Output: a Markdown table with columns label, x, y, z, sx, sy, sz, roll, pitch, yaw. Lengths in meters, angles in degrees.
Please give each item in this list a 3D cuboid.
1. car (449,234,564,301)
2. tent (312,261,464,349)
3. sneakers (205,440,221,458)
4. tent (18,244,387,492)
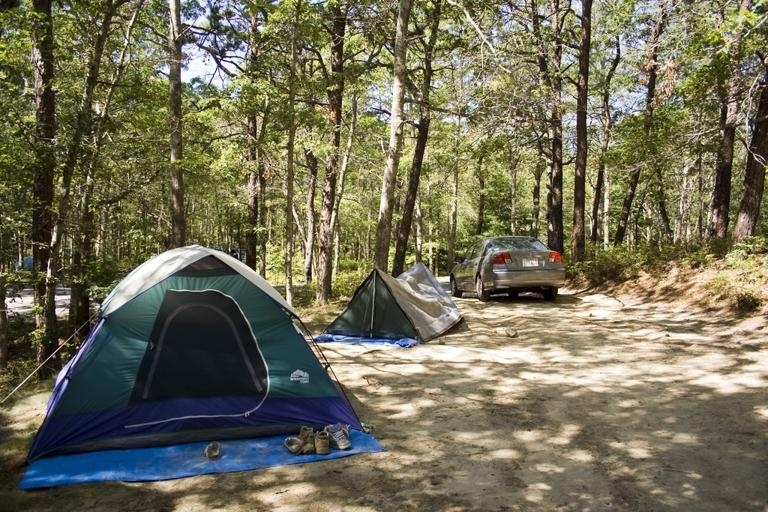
| label | x | y | z | sx | sy | sz | roll | pitch | yaw |
| --- | --- | --- | --- | --- | --- | --- | --- | --- | --- |
| car | 3.776 | 0.396 | 18.579 | 2.873 | 2.102 | 4.785 | -6 | 5 | -22 |
| tent | 0.174 | 1.383 | 14.281 | 2.125 | 1.101 | 2.662 | -2 | 3 | 28 |
| sneakers | -2.754 | 3.058 | 9.235 | 0.249 | 0.194 | 0.240 | -6 | 5 | -25 |
| tent | -3.179 | 1.595 | 9.978 | 4.373 | 2.043 | 4.085 | 0 | -5 | -15 |
